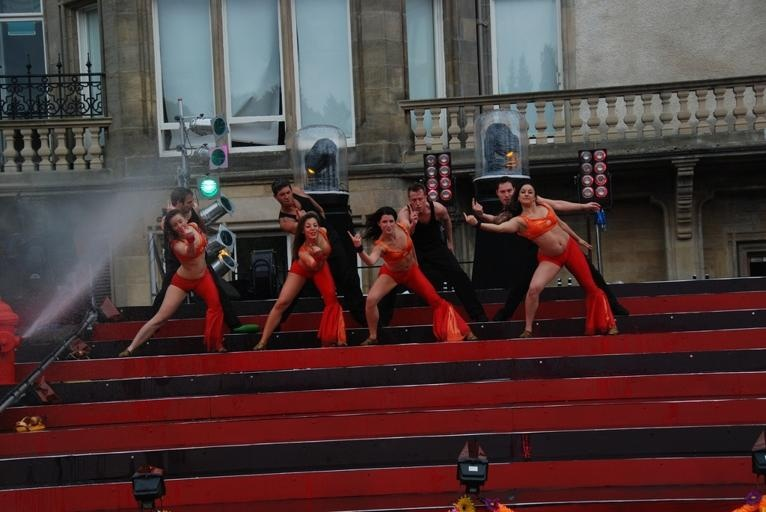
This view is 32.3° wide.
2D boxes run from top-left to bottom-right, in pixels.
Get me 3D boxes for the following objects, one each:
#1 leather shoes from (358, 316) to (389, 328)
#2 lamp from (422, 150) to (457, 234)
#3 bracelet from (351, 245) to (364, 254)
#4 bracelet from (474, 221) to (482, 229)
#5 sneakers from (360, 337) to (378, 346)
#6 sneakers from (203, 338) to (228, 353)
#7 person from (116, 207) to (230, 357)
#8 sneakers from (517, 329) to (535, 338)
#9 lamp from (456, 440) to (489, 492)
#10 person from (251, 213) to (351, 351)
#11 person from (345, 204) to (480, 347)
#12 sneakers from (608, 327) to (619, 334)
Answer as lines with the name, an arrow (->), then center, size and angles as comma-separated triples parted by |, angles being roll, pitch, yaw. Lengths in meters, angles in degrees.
leather shoes -> -0.141, 1.076, 21.085 | 0.353, 0.107, 0.220 | 1, 9, 5
lamp -> 1.078, -1.223, 24.986 | 0.670, 1.191, 0.714 | 6, -37, -11
bracelet -> -0.394, -0.078, 20.320 | 0.138, 0.130, 0.138 | 0, -9, 9
bracelet -> 1.536, -0.483, 21.384 | 0.147, 0.070, 0.188 | 5, -4, 8
sneakers -> -0.215, 1.360, 20.633 | 0.213, 0.089, 0.118 | -1, -3, 15
sneakers -> -2.633, 1.441, 20.628 | 0.455, 0.180, 0.154 | -1, 0, 5
person -> -3.183, 0.414, 20.586 | 1.302, 2.200, 0.546 | -3, 10, -8
sneakers -> 2.226, 1.229, 20.535 | 0.208, 0.128, 0.384 | -1, 10, 7
lamp -> 1.170, 2.838, 17.423 | 0.381, 0.697, 0.340 | -2, 10, 2
person -> -1.249, 0.391, 20.602 | 1.179, 2.040, 0.571 | -3, 10, -6
person -> 0.390, 0.320, 20.574 | 1.593, 2.100, 0.772 | -1, 10, 7
sneakers -> 3.551, 1.166, 20.395 | 0.142, 0.145, 0.240 | 2, 11, 20
